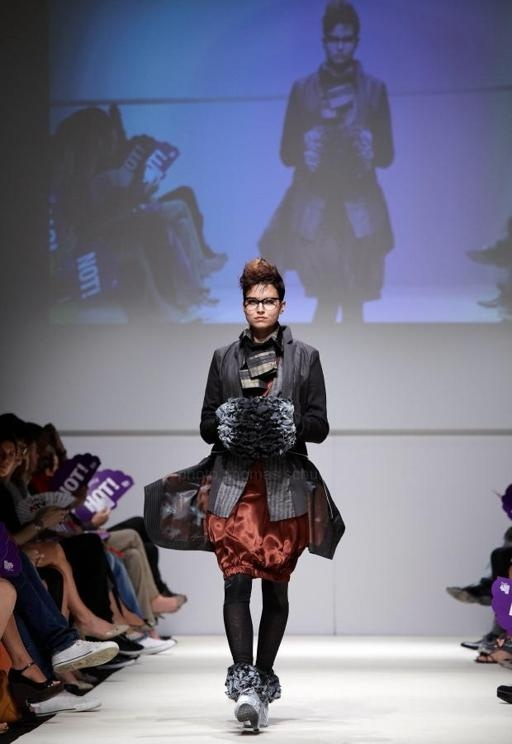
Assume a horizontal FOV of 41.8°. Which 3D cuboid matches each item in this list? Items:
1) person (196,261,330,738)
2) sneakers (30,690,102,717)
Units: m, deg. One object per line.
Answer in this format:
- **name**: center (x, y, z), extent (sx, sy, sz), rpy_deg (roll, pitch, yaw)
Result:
- **person**: center (-0.002, 0.275, 1.709), extent (0.324, 1.204, 0.373), rpy_deg (-6, -17, 25)
- **sneakers**: center (-0.532, 0.910, 1.881), extent (0.192, 0.069, 0.063), rpy_deg (1, -2, -29)
